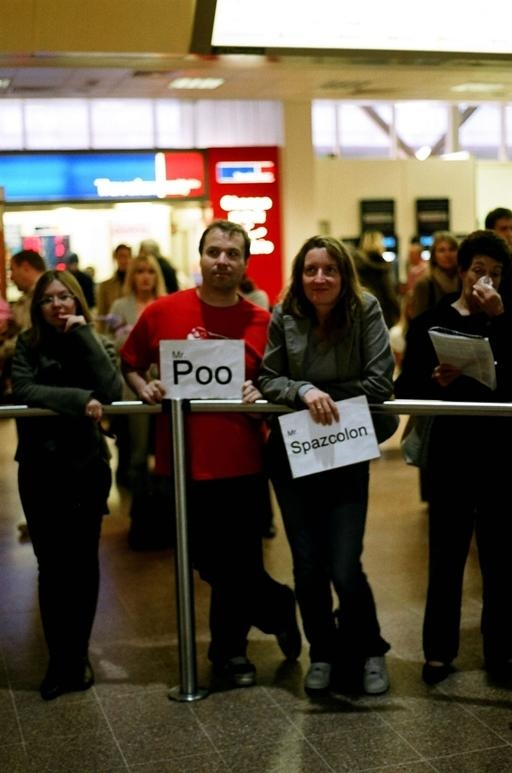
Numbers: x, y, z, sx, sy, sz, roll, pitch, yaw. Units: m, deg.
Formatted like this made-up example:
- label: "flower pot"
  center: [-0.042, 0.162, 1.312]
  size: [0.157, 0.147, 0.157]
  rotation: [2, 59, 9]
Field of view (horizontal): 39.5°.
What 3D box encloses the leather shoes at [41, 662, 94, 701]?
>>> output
- label: "leather shoes"
  center: [-0.631, 0.967, 2.342]
  size: [0.191, 0.123, 0.068]
  rotation: [5, -12, -38]
